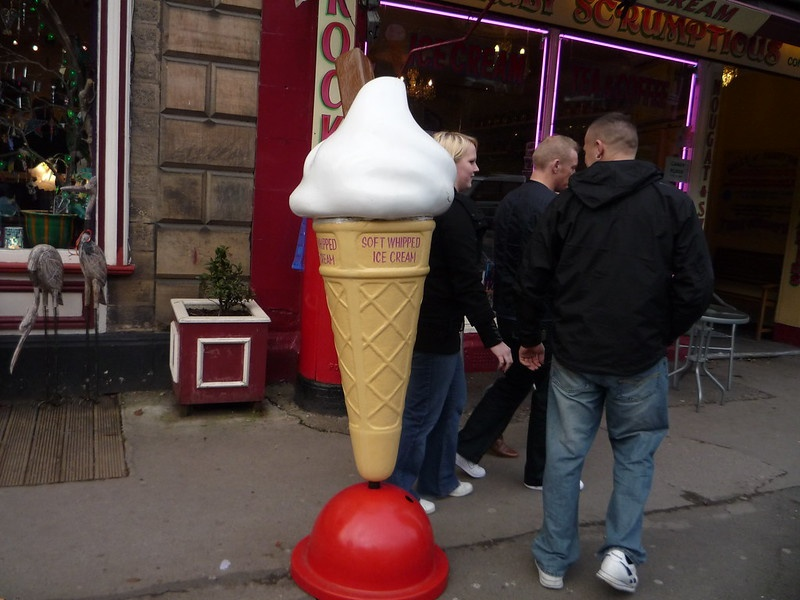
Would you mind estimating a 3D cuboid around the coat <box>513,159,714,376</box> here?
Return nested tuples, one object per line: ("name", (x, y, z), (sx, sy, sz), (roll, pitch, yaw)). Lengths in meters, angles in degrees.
("coat", (1.197, -0.186, 3.516), (1.030, 1.177, 0.428), (9, 14, 21))

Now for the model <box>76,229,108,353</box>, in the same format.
("model", (-2.650, -0.137, 5.466), (0.232, 0.973, 0.457), (-3, 15, -26))

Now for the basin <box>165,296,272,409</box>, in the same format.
("basin", (-1.603, 0.502, 5.567), (0.776, 0.865, 0.608), (-2, 15, -23))

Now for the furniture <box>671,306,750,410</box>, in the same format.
("furniture", (3.310, 0.603, 6.924), (0.852, 0.948, 0.814), (1, 5, -36))

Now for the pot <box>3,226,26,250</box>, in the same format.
("pot", (-3.461, -0.563, 5.688), (0.196, 0.230, 0.196), (2, 4, 0))

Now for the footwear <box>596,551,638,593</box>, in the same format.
("footwear", (1.195, 1.475, 3.438), (0.134, 0.148, 0.306), (9, -15, 36))

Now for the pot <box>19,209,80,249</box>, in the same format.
("pot", (-3.196, -0.661, 5.795), (0.366, 0.275, 0.376), (2, 6, 0))

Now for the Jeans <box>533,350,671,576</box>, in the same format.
("Jeans", (1.116, 0.815, 3.646), (0.715, 1.601, 0.443), (1, 17, 10))

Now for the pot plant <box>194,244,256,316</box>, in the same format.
("pot plant", (-1.562, -0.225, 5.659), (0.432, 0.532, 0.391), (-20, 21, -41))
